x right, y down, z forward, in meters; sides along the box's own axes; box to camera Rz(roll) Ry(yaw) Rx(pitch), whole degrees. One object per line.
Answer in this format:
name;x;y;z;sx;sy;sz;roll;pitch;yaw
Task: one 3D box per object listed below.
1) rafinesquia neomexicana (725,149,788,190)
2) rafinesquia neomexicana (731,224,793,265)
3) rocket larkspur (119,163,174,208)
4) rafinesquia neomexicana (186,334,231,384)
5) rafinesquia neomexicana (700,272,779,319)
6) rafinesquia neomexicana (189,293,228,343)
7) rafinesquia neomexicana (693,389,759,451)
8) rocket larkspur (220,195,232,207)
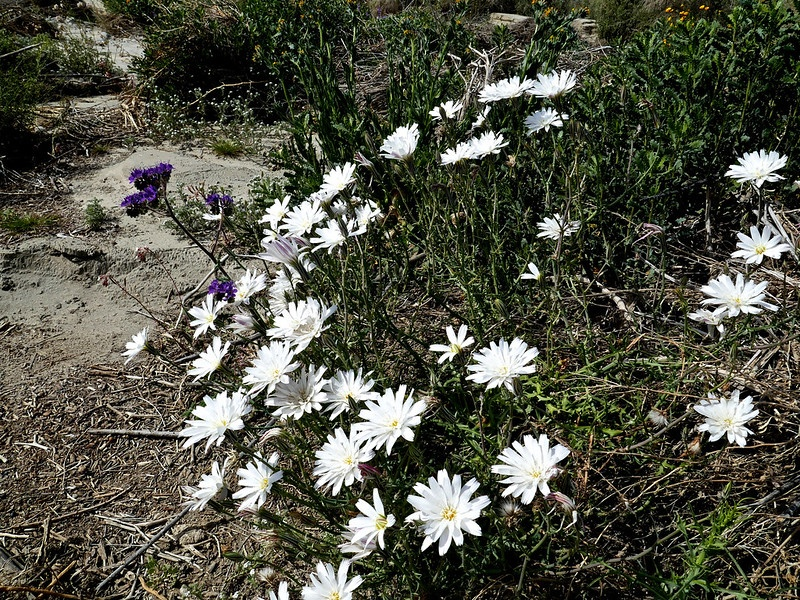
rafinesquia neomexicana;1.467;-0.528;2.598;0.234;0.268;0.188;4;10;22
rafinesquia neomexicana;1.398;-0.191;2.439;0.213;0.230;0.186;-1;5;7
rocket larkspur;-1.509;-0.687;3.749;0.276;0.346;0.302;6;12;37
rafinesquia neomexicana;-0.732;0.238;2.500;0.212;0.067;0.242;-16;22;2
rafinesquia neomexicana;1.228;0.001;2.311;0.198;0.082;0.202;28;75;37
rafinesquia neomexicana;-0.960;0.103;3.146;0.204;0.100;0.216;-42;58;10
rafinesquia neomexicana;1.140;0.415;2.206;0.210;0.071;0.207;-44;41;5
rocket larkspur;-1.029;-0.589;3.648;0.059;0.064;0.063;-21;-7;9
